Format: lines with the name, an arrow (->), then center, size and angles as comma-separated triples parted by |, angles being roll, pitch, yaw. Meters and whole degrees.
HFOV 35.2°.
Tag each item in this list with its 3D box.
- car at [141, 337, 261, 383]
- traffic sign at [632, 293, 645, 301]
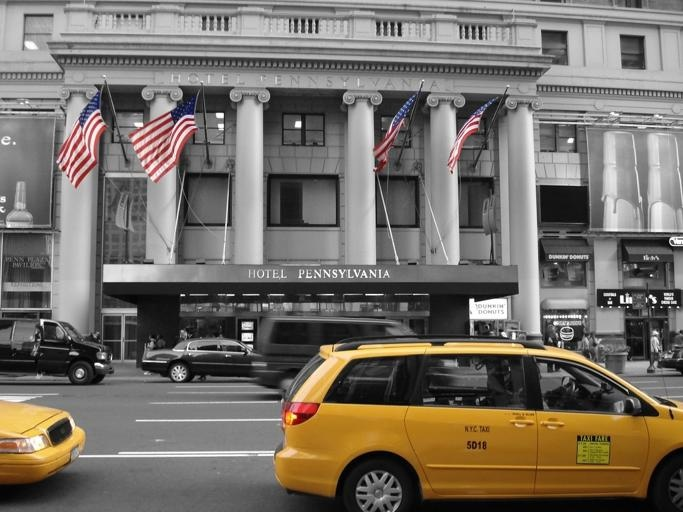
car -> -5.189, 4.320, 45.318 | 6.247, 1.889, 2.400 | 0, -8, -8
traffic sign -> 15.518, 2.086, 56.232 | 0.434, 0.416, 0.130 | 4, -10, 4
